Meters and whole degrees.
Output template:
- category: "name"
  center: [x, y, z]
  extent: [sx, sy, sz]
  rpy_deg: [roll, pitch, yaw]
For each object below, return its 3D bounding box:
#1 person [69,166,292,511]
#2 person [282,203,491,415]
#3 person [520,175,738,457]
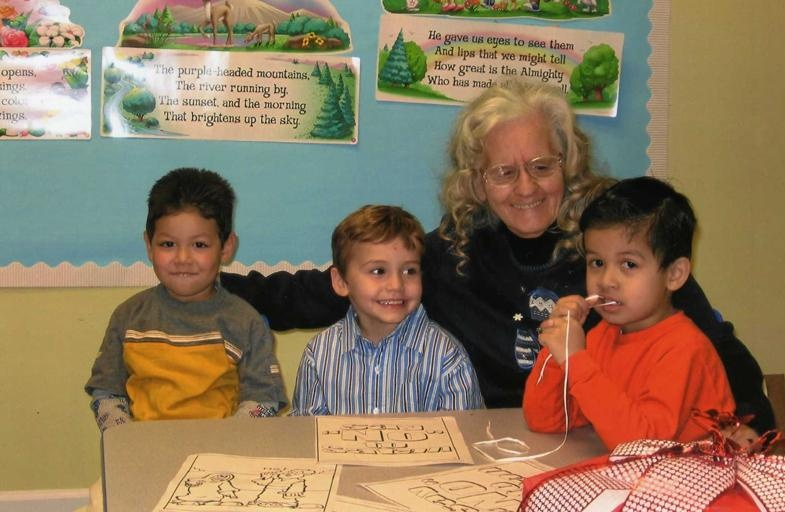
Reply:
- category: "person"
  center: [-0.819, 0.231, 3.083]
  extent: [0.773, 1.077, 0.670]
  rpy_deg: [3, 5, 2]
- category: "person"
  center: [-0.035, 0.279, 3.164]
  extent: [0.764, 0.913, 0.534]
  rpy_deg: [0, 5, -3]
- category: "person"
  center: [0.851, 0.293, 2.860]
  extent: [0.765, 1.071, 0.705]
  rpy_deg: [4, 1, -27]
